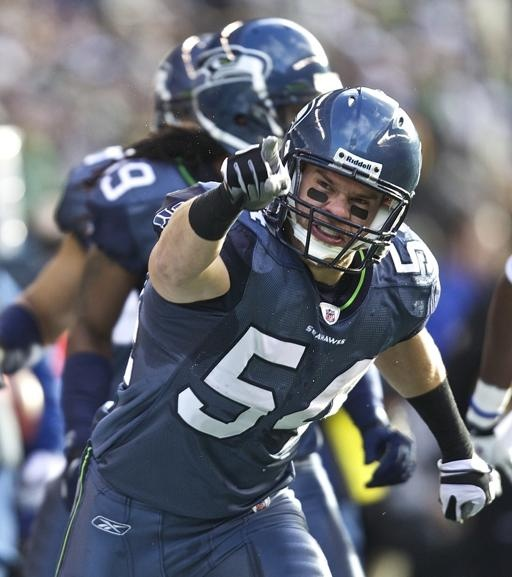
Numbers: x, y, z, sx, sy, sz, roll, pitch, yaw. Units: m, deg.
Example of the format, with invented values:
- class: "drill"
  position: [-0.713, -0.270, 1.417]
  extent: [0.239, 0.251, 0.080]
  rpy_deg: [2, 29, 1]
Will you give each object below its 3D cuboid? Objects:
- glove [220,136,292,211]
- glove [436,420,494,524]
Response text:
- class: "glove"
  position: [0.000, -0.193, 1.338]
  extent: [0.102, 0.127, 0.048]
  rpy_deg: [25, 40, -17]
- class: "glove"
  position: [0.566, 0.507, 2.077]
  extent: [0.153, 0.179, 0.096]
  rpy_deg: [3, 18, 22]
